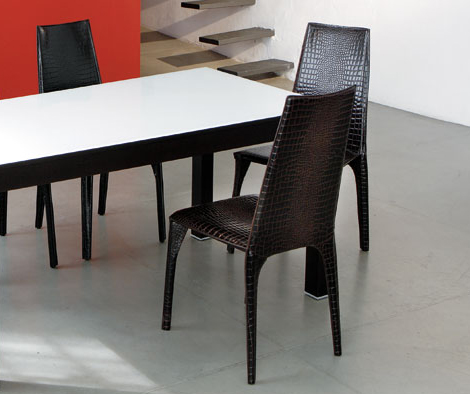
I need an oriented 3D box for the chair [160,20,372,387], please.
[{"bbox_3d":[0.242,-0.149,2.097,0.718,1.135,1.486,8,21,17],"label":"chair"}]
